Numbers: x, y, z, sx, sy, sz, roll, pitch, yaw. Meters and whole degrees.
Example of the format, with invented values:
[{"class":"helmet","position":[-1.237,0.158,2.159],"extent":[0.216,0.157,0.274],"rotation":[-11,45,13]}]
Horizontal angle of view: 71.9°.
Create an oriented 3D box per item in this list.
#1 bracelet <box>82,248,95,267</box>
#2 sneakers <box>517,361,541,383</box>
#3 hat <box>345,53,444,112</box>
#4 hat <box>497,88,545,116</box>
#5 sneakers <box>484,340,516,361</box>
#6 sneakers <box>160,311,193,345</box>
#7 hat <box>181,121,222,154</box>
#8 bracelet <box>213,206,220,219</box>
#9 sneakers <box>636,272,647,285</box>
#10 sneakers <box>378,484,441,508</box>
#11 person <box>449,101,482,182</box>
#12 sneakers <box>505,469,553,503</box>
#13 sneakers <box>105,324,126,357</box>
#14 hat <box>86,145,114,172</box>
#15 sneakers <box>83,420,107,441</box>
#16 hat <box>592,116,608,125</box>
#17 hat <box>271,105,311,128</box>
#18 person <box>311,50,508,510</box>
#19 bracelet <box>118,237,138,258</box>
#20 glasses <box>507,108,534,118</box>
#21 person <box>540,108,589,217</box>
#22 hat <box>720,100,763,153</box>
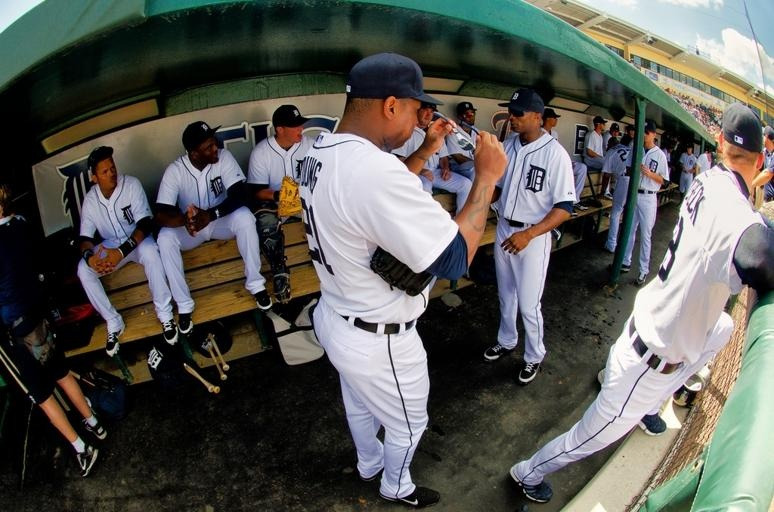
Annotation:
[{"class":"bracelet","position":[-2.434,0.018,4.351],"extent":[0.055,0.181,0.066],"rotation":[-28,-38,30]},{"class":"sneakers","position":[1.195,1.000,4.531],"extent":[0.100,0.108,0.279],"rotation":[34,52,22]},{"class":"hat","position":[-0.003,-0.967,2.946],"extent":[0.359,0.182,0.255],"rotation":[-2,27,-12]},{"class":"hat","position":[1.096,-1.225,4.307],"extent":[0.276,0.145,0.194],"rotation":[2,30,-5]},{"class":"sneakers","position":[1.039,0.851,4.830],"extent":[0.318,0.121,0.114],"rotation":[-9,60,-34]},{"class":"sneakers","position":[-1.760,0.629,4.522],"extent":[0.252,0.311,0.214],"rotation":[-13,20,-22]},{"class":"hat","position":[-1.646,-1.035,4.657],"extent":[0.244,0.247,0.184],"rotation":[-16,21,-27]},{"class":"bracelet","position":[-1.481,-0.379,4.642],"extent":[0.075,0.069,0.075],"rotation":[-7,11,-6]},{"class":"sneakers","position":[2.923,0.261,6.158],"extent":[0.248,0.095,0.075],"rotation":[-19,19,-40]},{"class":"sneakers","position":[0.159,1.694,3.752],"extent":[0.464,0.164,0.167],"rotation":[-1,41,-5]},{"class":"person","position":[0.917,-1.361,6.684],"extent":[0.291,0.813,1.127],"rotation":[13,20,1]},{"class":"sneakers","position":[1.038,1.662,3.838],"extent":[0.346,0.165,0.155],"rotation":[32,41,3]},{"class":"sneakers","position":[-2.225,0.691,4.377],"extent":[0.097,0.265,0.110],"rotation":[-2,-11,-2]},{"class":"hat","position":[-2.399,-0.780,4.459],"extent":[0.245,0.090,0.174],"rotation":[-30,13,22]},{"class":"sneakers","position":[-2.292,1.368,4.172],"extent":[0.197,0.083,0.072],"rotation":[37,15,6]},{"class":"hat","position":[3.486,-2.212,8.786],"extent":[0.239,0.126,0.152],"rotation":[-23,22,-30]},{"class":"hat","position":[-0.893,-1.273,4.982],"extent":[0.295,0.165,0.213],"rotation":[-3,25,7]},{"class":"person","position":[0.094,0.360,3.243],"extent":[1.066,2.991,0.619],"rotation":[-9,19,-9]},{"class":"bracelet","position":[-2.136,-0.074,4.408],"extent":[0.062,0.104,0.165],"rotation":[-41,2,38]},{"class":"glasses","position":[1.049,-1.149,4.295],"extent":[0.117,0.059,0.088],"rotation":[5,23,-14]},{"class":"person","position":[2.406,-1.349,7.419],"extent":[0.755,1.420,0.585],"rotation":[-18,28,-20]},{"class":"hat","position":[2.115,-0.758,3.201],"extent":[0.221,0.279,0.236],"rotation":[-17,22,-31]}]
